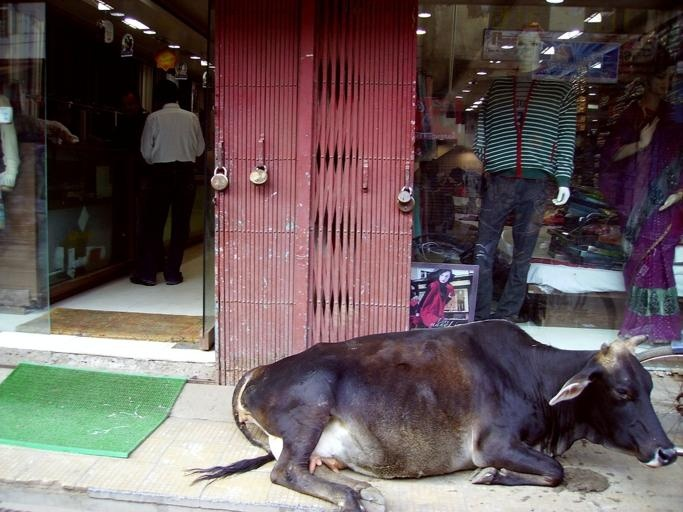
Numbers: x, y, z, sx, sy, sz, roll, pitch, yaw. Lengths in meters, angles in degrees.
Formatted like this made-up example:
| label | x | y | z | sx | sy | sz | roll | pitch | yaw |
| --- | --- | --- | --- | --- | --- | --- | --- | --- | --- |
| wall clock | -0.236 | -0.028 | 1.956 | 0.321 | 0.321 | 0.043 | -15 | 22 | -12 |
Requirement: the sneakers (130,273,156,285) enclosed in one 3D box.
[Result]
| label | x | y | z | sx | sy | sz | roll | pitch | yaw |
| --- | --- | --- | --- | --- | --- | --- | --- | --- | --- |
| sneakers | -2.632 | 0.336 | 7.178 | 0.401 | 0.155 | 0.144 | 11 | 13 | 27 |

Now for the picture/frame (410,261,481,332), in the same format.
| label | x | y | z | sx | sy | sz | roll | pitch | yaw |
| --- | --- | --- | --- | --- | --- | --- | --- | --- | --- |
| picture/frame | 0.866 | 0.363 | 4.582 | 0.642 | 0.620 | 0.030 | 2 | -6 | -9 |

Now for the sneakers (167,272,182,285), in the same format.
| label | x | y | z | sx | sy | sz | roll | pitch | yaw |
| --- | --- | --- | --- | --- | --- | --- | --- | --- | --- |
| sneakers | -2.222 | 0.311 | 7.132 | 0.096 | 0.181 | 0.273 | 3 | 10 | 8 |

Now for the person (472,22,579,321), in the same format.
| label | x | y | z | sx | sy | sz | roll | pitch | yaw |
| --- | --- | --- | --- | --- | --- | --- | --- | --- | --- |
| person | 1.624 | -0.685 | 4.759 | 0.870 | 2.578 | 0.279 | -1 | 9 | -18 |

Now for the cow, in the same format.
| label | x | y | z | sx | sy | sz | roll | pitch | yaw |
| --- | --- | --- | --- | --- | --- | --- | --- | --- | --- |
| cow | 0.535 | 0.939 | 3.586 | 2.927 | 0.916 | 1.205 | -1 | -3 | 2 |

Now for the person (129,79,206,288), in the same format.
| label | x | y | z | sx | sy | sz | roll | pitch | yaw |
| --- | --- | --- | --- | --- | --- | --- | --- | --- | --- |
| person | -2.262 | -0.813 | 7.029 | 0.876 | 2.410 | 0.351 | -1 | 9 | -20 |
